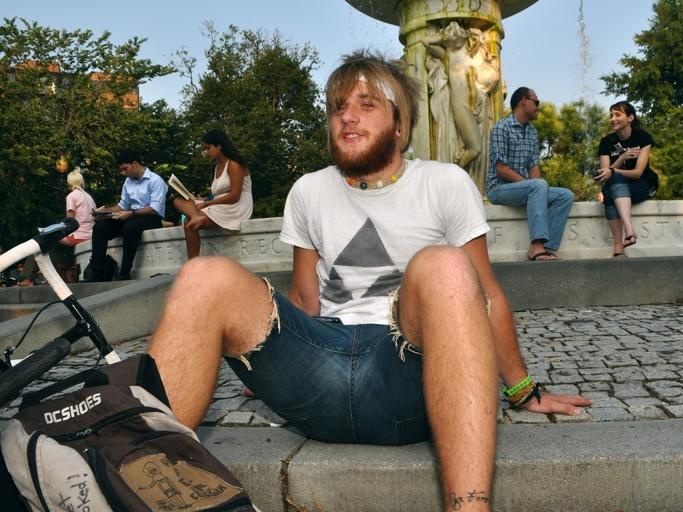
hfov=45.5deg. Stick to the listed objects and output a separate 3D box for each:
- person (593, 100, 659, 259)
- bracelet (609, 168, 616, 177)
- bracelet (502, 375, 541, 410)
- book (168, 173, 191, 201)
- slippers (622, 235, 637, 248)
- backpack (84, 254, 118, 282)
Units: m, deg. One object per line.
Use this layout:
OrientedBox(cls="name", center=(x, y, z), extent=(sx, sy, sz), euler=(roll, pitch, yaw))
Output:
OrientedBox(cls="person", center=(3.069, -0.852, 8.722), extent=(0.594, 1.635, 1.060), euler=(-2, 4, 21))
OrientedBox(cls="bracelet", center=(2.863, -0.887, 8.556), extent=(0.064, 0.063, 0.060), euler=(2, -2, 9))
OrientedBox(cls="bracelet", center=(0.902, 0.676, 4.114), extent=(0.185, 0.151, 0.148), euler=(-27, 0, 11))
OrientedBox(cls="book", center=(-1.807, -0.717, 8.939), extent=(0.291, 0.069, 0.296), euler=(44, 9, -49))
OrientedBox(cls="slippers", center=(2.957, -0.158, 8.412), extent=(0.081, 0.102, 0.244), euler=(-1, -1, -13))
OrientedBox(cls="backpack", center=(-2.973, 0.165, 9.879), extent=(0.273, 0.409, 0.401), euler=(-4, -9, 38))
